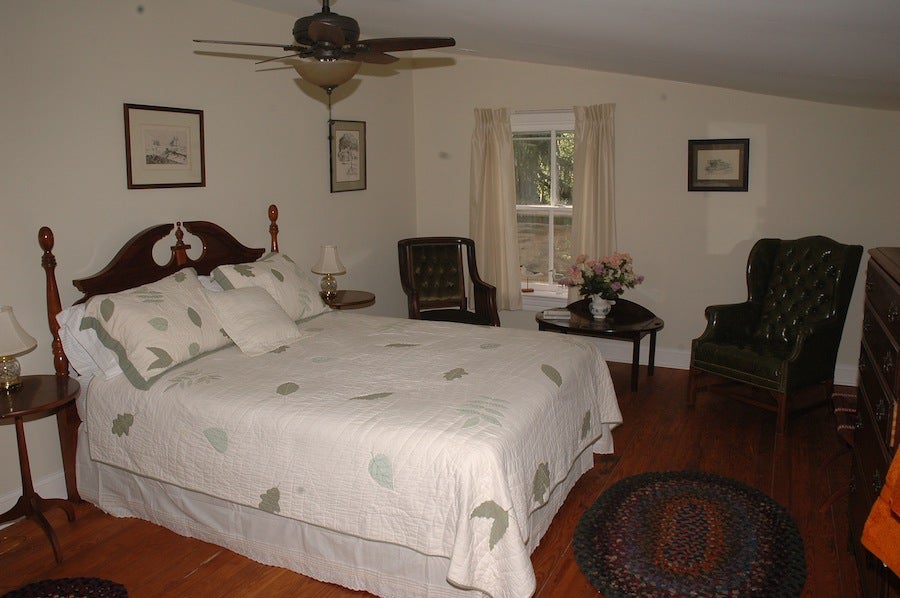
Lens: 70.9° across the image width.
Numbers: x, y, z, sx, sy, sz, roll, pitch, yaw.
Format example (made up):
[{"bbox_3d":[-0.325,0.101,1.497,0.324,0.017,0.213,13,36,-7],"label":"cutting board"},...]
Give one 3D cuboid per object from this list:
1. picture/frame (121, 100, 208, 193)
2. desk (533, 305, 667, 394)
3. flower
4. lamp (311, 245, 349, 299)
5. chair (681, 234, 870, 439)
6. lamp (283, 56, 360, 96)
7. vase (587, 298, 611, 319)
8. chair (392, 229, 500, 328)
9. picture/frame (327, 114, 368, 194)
[{"bbox_3d":[-2.218,-1.169,4.845,0.033,0.702,0.726,12,15,37],"label":"picture/frame"},{"bbox_3d":[1.571,0.251,6.161,1.073,0.539,0.901,5,18,29],"label":"desk"},{"bbox_3d":[1.534,-0.255,6.530,0.735,0.506,0.882,-2,7,-2],"label":"flower"},{"bbox_3d":[-1.105,-0.253,5.899,0.447,0.634,0.436,0,4,-5],"label":"lamp"},{"bbox_3d":[2.895,0.224,5.641,1.199,1.480,0.915,-8,12,-29],"label":"chair"},{"bbox_3d":[-0.743,-1.344,3.782,0.286,0.145,0.285,-2,19,-14],"label":"lamp"},{"bbox_3d":[1.474,0.088,6.217,0.210,0.215,0.163,3,2,0],"label":"vase"},{"bbox_3d":[-0.037,0.044,6.636,0.945,1.323,0.916,-4,12,-12],"label":"chair"},{"bbox_3d":[-1.056,-1.465,6.379,0.058,0.917,0.743,10,15,37],"label":"picture/frame"}]
